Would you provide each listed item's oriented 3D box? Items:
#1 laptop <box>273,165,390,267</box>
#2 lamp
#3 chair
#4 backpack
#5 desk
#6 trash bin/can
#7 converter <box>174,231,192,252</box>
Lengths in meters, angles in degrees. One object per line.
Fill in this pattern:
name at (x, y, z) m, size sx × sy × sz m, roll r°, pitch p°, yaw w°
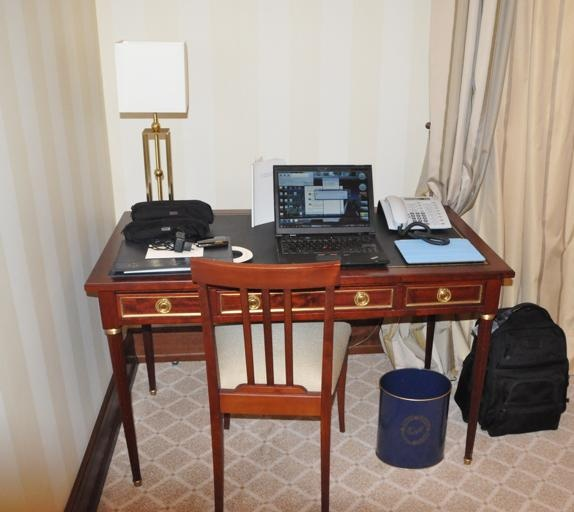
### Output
laptop at (0.156, -0.180, 1.961) m, size 0.422 × 0.409 × 0.304 m, roll 0°, pitch 8°, yaw -5°
lamp at (-0.534, -0.556, 2.090) m, size 0.290 × 0.664 × 0.399 m, roll -8°, pitch 24°, yaw -12°
chair at (-0.038, 0.385, 1.788) m, size 0.517 × 1.022 × 0.619 m, roll 1°, pitch 24°, yaw 7°
backpack at (0.944, 0.492, 2.055) m, size 0.460 × 0.628 × 0.327 m, roll -3°, pitch 18°, yaw -5°
desk at (0.043, 0.387, 2.322) m, size 1.866 × 1.235 × 0.933 m, roll -2°, pitch 37°, yaw -3°
trash bin/can at (0.499, 0.649, 1.954) m, size 0.261 × 0.308 × 0.266 m, roll -7°, pitch 18°, yaw -20°
converter at (-0.375, -0.055, 1.776) m, size 0.066 × 0.072 × 0.017 m, roll 4°, pitch 4°, yaw 6°
